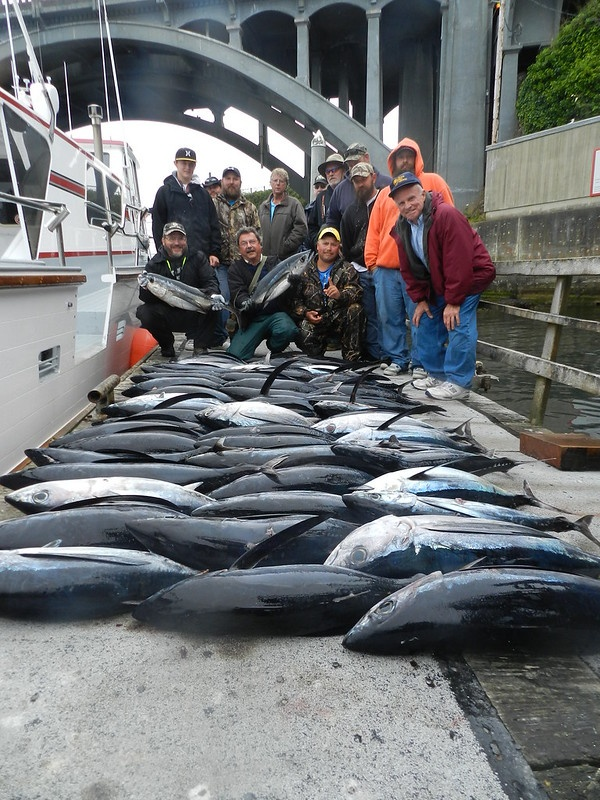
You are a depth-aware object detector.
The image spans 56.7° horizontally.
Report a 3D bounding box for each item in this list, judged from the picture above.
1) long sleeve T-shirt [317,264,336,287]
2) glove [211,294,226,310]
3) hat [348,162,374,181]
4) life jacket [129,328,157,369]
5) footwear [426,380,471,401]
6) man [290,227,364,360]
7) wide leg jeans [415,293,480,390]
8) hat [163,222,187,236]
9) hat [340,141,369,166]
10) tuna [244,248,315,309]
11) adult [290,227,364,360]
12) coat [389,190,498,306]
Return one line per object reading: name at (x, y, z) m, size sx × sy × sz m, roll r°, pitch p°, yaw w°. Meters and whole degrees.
long sleeve T-shirt at (0.283, -1.332, 6.018) m, size 0.194 × 0.224 × 0.129 m, roll 7°, pitch -14°, yaw 29°
glove at (-0.845, -1.037, 5.913) m, size 0.157 × 0.077 × 0.205 m, roll 28°, pitch -1°, yaw -1°
hat at (0.640, -2.383, 5.769) m, size 0.198 × 0.127 × 0.263 m, roll -9°, pitch 7°, yaw 16°
life jacket at (-1.981, -0.684, 7.044) m, size 0.431 × 0.191 × 0.531 m, roll 3°, pitch 41°, yaw 0°
footwear at (1.197, -0.079, 4.610) m, size 0.382 × 0.136 × 0.136 m, roll 4°, pitch 10°, yaw -5°
man at (0.337, -1.102, 6.076) m, size 0.969 × 1.421 × 0.756 m, roll 8°, pitch 18°, yaw 41°
wide leg jeans at (1.262, -0.518, 4.814) m, size 0.274 × 0.413 × 0.928 m, roll 5°, pitch -4°, yaw 3°
hat at (-1.373, -1.892, 6.166) m, size 0.217 × 0.166 × 0.318 m, roll -1°, pitch 13°, yaw -7°
hat at (0.632, -2.711, 6.126) m, size 0.258 × 0.167 × 0.330 m, roll 3°, pitch 28°, yaw 9°
tuna at (-0.213, -1.280, 6.003) m, size 0.955 × 0.346 × 0.310 m, roll -34°, pitch -22°, yaw 14°
adult at (0.335, -1.108, 6.062) m, size 0.980 × 1.409 × 0.754 m, roll 6°, pitch 17°, yaw 37°
coat at (1.201, -1.263, 4.708) m, size 0.432 × 0.926 × 0.776 m, roll -11°, pitch 18°, yaw -36°
